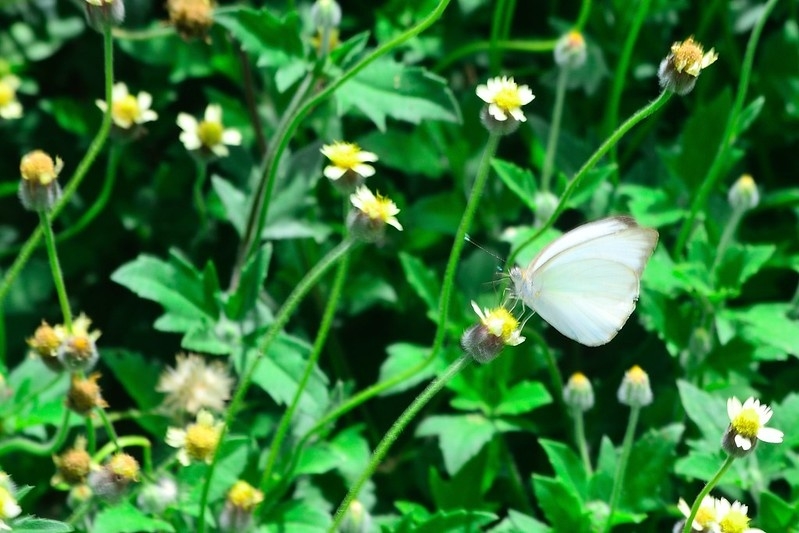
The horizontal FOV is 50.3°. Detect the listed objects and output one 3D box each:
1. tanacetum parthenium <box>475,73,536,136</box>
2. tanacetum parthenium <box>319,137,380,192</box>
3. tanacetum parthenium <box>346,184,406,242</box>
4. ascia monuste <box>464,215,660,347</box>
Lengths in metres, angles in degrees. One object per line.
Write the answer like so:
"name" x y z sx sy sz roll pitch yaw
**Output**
"tanacetum parthenium" 0.219 -0.338 1.769 0.116 0.038 0.127 -25 77 -11
"tanacetum parthenium" -0.126 -0.207 1.819 0.116 0.137 0.071 20 66 20
"tanacetum parthenium" -0.043 -0.108 1.792 0.108 0.047 0.118 -1 55 -45
"ascia monuste" 0.422 0.047 1.926 0.351 0.260 0.222 -10 53 -7
